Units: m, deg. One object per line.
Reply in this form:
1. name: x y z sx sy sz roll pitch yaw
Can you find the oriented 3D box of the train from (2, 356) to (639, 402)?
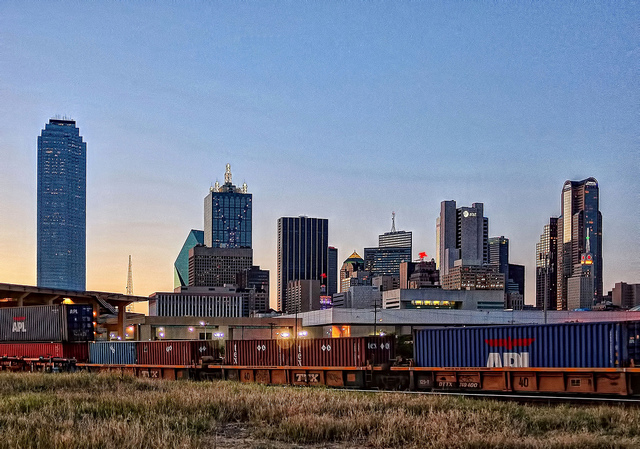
1. train: 1.355 13.627 111.795 54.166 3.398 2.608 -2 -1 27
